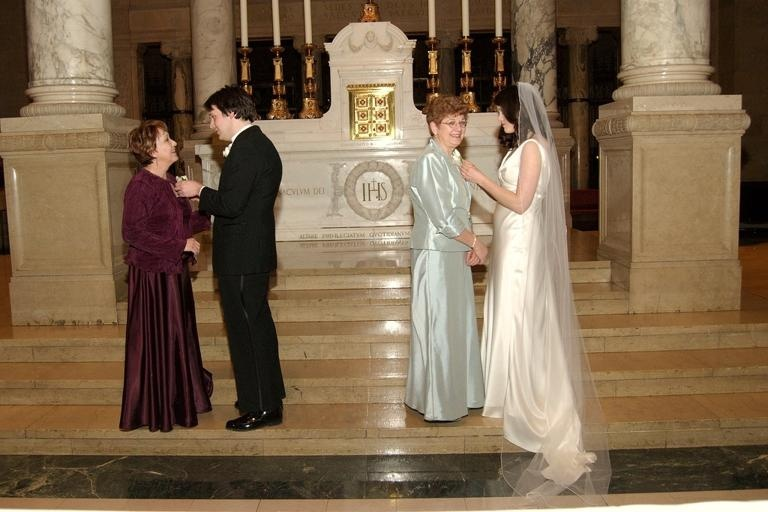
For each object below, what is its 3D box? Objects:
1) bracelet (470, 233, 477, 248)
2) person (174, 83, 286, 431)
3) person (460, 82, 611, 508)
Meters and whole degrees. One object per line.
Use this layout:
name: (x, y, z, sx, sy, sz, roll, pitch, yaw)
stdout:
bracelet: (0.726, -0.125, 7.192, 0.039, 0.100, 0.041, -2, -2, -10)
person: (-1.157, 0.025, 7.264, 0.700, 2.832, 0.410, -4, 10, -9)
person: (1.190, 0.195, 7.043, 0.944, 3.151, 1.224, -4, 10, -15)
